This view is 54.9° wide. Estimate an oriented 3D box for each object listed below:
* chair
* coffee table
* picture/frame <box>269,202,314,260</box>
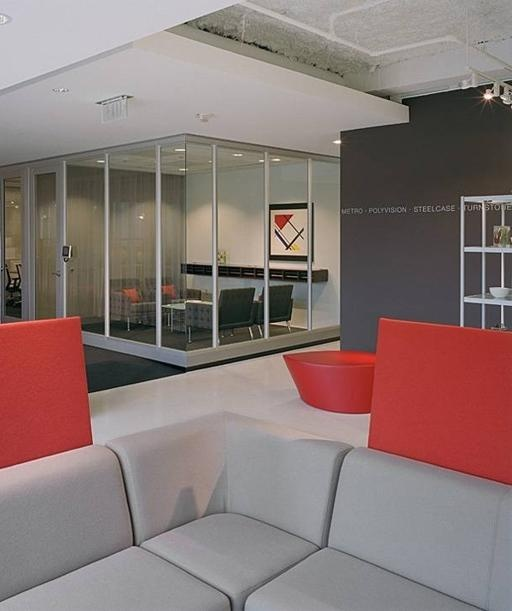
[{"bbox_3d":[-0.686,0.113,7.308,2.723,0.943,1.421,1,0,-15],"label":"chair"},{"bbox_3d":[0.714,0.722,4.681,0.593,0.339,0.679,-1,1,-44],"label":"coffee table"},{"bbox_3d":[0.524,-1.194,7.827,0.923,1.118,0.043,-3,7,-34],"label":"picture/frame"}]
